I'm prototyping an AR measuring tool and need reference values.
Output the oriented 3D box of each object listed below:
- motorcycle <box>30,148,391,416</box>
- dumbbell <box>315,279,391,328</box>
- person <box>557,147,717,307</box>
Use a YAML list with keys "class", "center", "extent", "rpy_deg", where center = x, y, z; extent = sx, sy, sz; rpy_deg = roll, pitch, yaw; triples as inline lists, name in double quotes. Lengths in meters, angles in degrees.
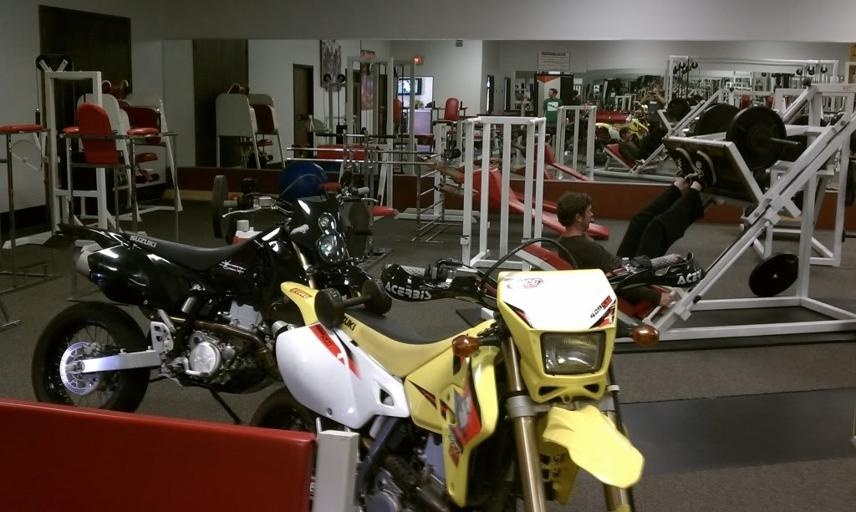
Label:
- class: "motorcycle"
  center: [-1.184, 0.330, 3.955]
  extent: [2.362, 1.478, 1.089]
  rpy_deg: [2, -17, 10]
- class: "dumbbell"
  center: [-0.377, 0.230, 3.303]
  extent: [0.337, 0.203, 0.208]
  rpy_deg: [-13, 6, -42]
- class: "person"
  center: [1.581, -0.089, 5.687]
  extent: [1.553, 0.903, 0.910]
  rpy_deg: [-9, 13, -38]
